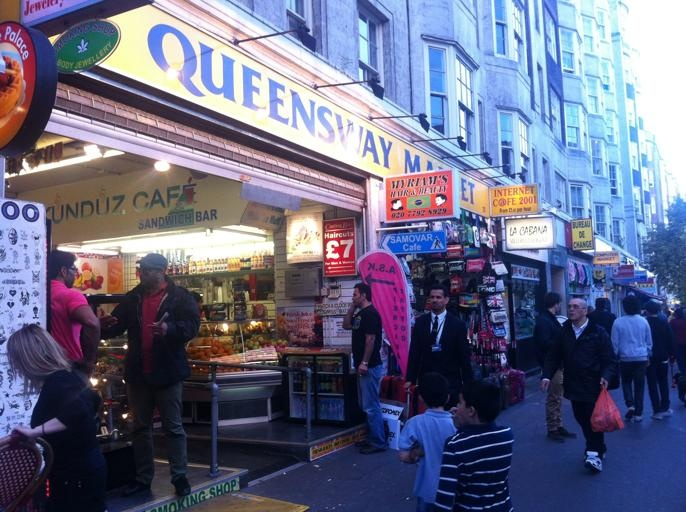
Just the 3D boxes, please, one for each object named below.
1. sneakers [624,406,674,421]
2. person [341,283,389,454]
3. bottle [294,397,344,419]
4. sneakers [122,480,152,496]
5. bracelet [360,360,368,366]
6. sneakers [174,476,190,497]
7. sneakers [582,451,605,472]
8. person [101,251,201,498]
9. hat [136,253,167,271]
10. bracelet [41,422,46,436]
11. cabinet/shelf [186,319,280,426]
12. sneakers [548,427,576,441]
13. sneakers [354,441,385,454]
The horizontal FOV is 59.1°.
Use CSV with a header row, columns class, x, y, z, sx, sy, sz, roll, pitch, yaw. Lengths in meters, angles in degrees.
class,x,y,z,sx,sy,sz,roll,pitch,yaw
sneakers,5.298,2.753,10.508,0.627,0.297,0.221,-6,-5,-1
person,0.358,1.598,8.797,0.457,2.388,0.552,0,0,-23
bottle,-0.403,2.389,9.505,1.022,0.430,0.149,0,0,38
sneakers,-2.167,2.455,6.393,0.322,0.170,0.110,11,-14,-28
bracelet,0.296,1.526,8.515,0.075,0.075,0.106,9,-20,-1
sneakers,-1.708,2.445,6.425,0.195,0.220,0.131,0,0,-18
sneakers,3.117,2.530,7.477,0.142,0.209,0.441,-3,-11,27
person,-2.067,1.265,6.561,0.942,2.571,0.570,0,0,25
hat,-2.064,0.068,6.560,0.255,0.144,0.193,19,-1,-13
bracelet,-2.123,1.236,4.295,0.022,0.067,0.040,1,0,-26
cabinet/shelf,-1.743,1.936,10.162,1.493,1.425,1.313,0,-3,-2
sneakers,3.279,2.684,9.090,0.460,0.213,0.175,0,-2,-21
sneakers,0.370,2.741,8.654,0.391,0.186,0.155,4,-5,6
